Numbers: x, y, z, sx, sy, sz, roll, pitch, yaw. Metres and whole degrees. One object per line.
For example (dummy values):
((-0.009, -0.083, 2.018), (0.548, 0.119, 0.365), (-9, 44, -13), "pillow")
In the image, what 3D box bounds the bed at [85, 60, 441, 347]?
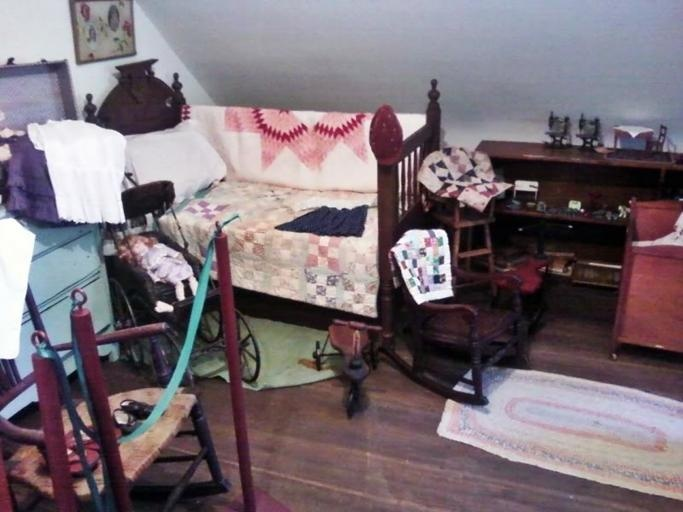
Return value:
((-0.445, -0.591, 5.201), (2.515, 2.108, 1.692), (10, 31, 19), "bed")

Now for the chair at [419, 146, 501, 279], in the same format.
((0.954, -0.388, 4.630), (0.750, 1.057, 0.595), (-21, 38, -13), "chair")

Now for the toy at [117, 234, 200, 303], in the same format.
((-1.289, 0.073, 4.046), (0.620, 0.371, 0.323), (15, 25, 40), "toy")

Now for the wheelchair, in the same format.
((-1.112, 0.222, 3.896), (0.578, 1.084, 1.331), (-26, 52, -33), "wheelchair")

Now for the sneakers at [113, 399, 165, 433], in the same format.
((-1.030, 0.771, 2.753), (0.178, 0.058, 0.194), (6, 20, 20), "sneakers")
